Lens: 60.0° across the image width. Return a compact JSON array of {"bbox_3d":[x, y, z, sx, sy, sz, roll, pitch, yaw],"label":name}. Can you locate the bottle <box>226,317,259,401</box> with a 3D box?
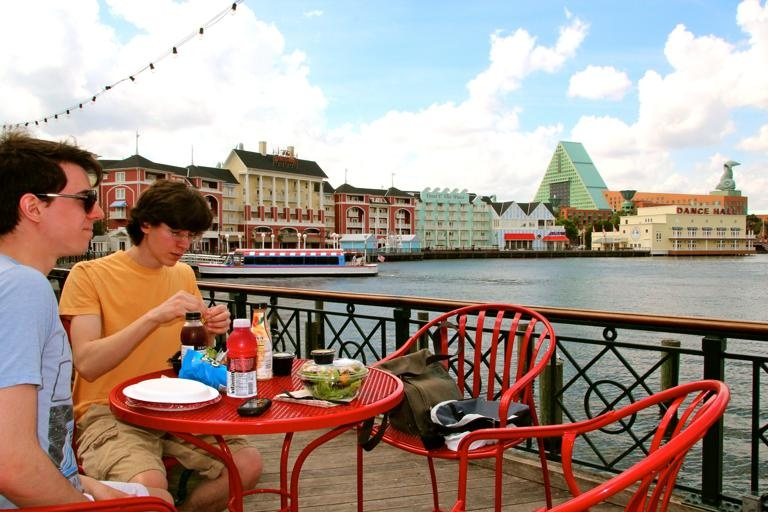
[{"bbox_3d":[-0.690,0.500,3.239,0.138,0.401,0.157,0,0,-7],"label":"bottle"}]

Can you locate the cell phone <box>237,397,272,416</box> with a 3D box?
[{"bbox_3d":[-0.615,0.709,3.113,0.160,0.043,0.131,1,-1,-11],"label":"cell phone"}]

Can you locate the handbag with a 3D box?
[{"bbox_3d":[0.299,0.999,4.181,0.522,0.691,0.729,3,-26,6],"label":"handbag"}]

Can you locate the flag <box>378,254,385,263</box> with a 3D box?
[{"bbox_3d":[-0.378,0.216,76.274,0.869,0.839,0.243,12,-28,28],"label":"flag"}]

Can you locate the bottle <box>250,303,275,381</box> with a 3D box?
[{"bbox_3d":[-0.651,0.458,3.558,0.121,0.392,0.141,-1,1,-5],"label":"bottle"}]
